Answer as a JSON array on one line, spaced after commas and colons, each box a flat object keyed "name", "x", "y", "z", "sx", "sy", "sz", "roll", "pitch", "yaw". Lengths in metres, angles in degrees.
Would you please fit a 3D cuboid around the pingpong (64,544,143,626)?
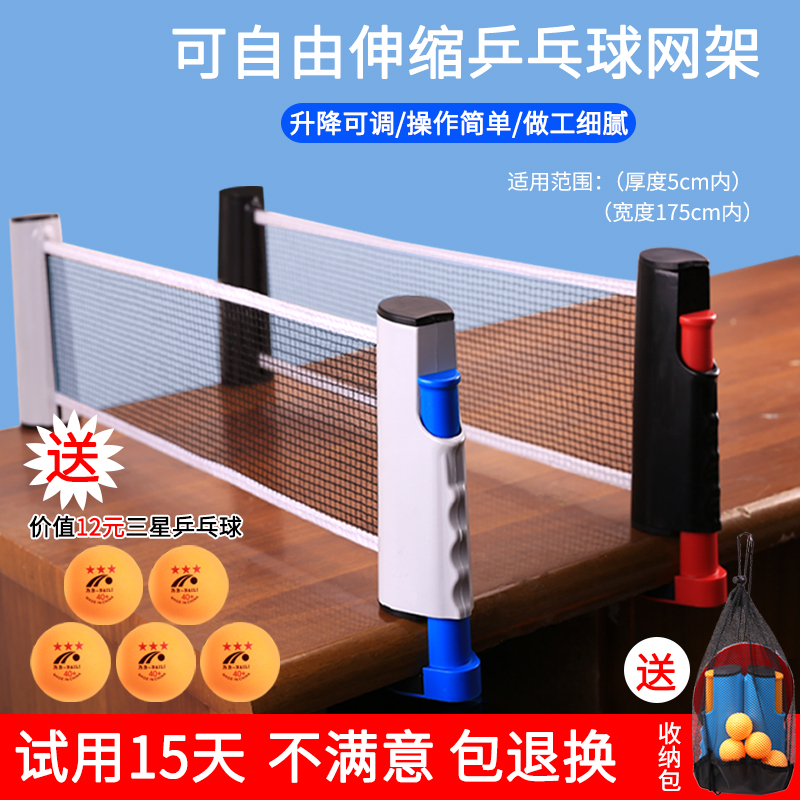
[{"name": "pingpong", "x": -0.682, "y": 0.430, "z": 1.945, "sx": 0.169, "sy": 0.178, "sz": 0.034, "roll": -3, "pitch": -3, "yaw": 20}]

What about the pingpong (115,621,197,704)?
[{"name": "pingpong", "x": -0.517, "y": 0.559, "z": 1.810, "sx": 0.178, "sy": 0.188, "sz": 0.042, "roll": -2, "pitch": 9, "yaw": 26}]

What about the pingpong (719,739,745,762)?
[{"name": "pingpong", "x": 0.776, "y": 0.820, "z": 1.969, "sx": 0.047, "sy": 0.056, "sz": 0.048, "roll": -3, "pitch": 1, "yaw": -3}]

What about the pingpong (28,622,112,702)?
[{"name": "pingpong", "x": -0.753, "y": 0.595, "z": 1.923, "sx": 0.177, "sy": 0.186, "sz": 0.041, "roll": -1, "pitch": 13, "yaw": 3}]

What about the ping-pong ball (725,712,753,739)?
[{"name": "ping-pong ball", "x": 0.806, "y": 0.776, "z": 2.005, "sx": 0.049, "sy": 0.059, "sz": 0.049, "roll": -2, "pitch": -1, "yaw": 0}]

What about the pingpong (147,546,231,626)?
[{"name": "pingpong", "x": -0.476, "y": 0.417, "z": 1.882, "sx": 0.164, "sy": 0.171, "sz": 0.106, "roll": -39, "pitch": -10, "yaw": -30}]
